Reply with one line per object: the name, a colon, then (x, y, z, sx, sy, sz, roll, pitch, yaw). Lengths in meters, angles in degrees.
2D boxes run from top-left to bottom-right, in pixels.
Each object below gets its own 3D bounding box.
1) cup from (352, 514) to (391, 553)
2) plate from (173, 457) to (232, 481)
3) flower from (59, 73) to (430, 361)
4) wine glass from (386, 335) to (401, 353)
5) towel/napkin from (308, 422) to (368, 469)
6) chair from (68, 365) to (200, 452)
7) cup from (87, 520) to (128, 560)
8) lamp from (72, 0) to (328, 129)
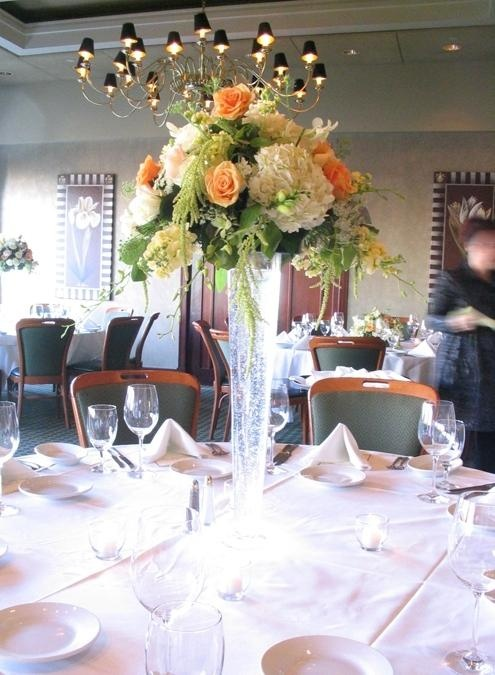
cup: (0.220, 0.352, 1.027, 0.054, 0.045, 0.057, 1, 7, 0)
plate: (-0.116, 0.338, 1.470, 0.109, 0.013, 0.104, 0, 7, -12)
flower: (0.015, -0.225, 1.304, 0.590, 0.572, 0.587, 1, 12, 5)
wine glass: (1.184, 0.051, 4.689, 0.098, 0.123, 0.060, 0, 5, 23)
towel/napkin: (0.246, 0.302, 1.577, 0.107, 0.070, 0.139, 7, -8, -44)
chair: (-0.390, 0.247, 2.183, 0.350, 0.477, 0.337, 1, -4, -10)
cup: (-0.233, 0.329, 0.962, 0.067, 0.048, 0.059, -2, 6, -27)
lamp: (-0.370, -2.142, 4.913, 2.276, 0.823, 2.184, -1, 12, -6)
